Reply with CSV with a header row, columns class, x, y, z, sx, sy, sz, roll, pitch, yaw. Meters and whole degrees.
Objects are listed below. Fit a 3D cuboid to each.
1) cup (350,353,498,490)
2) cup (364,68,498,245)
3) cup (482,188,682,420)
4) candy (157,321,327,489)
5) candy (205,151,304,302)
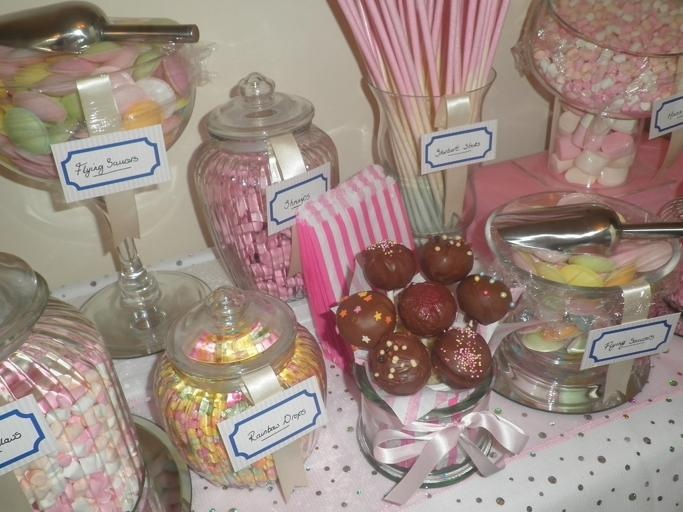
class,x,y,z,sx,sy,sz,roll,pitch,yaw
cup,0.110,0.253,0.766,0.179,0.132,0.180,-1,44,1
cup,0.124,-0.224,1.065,0.269,0.387,0.264,0,30,0
cup,0.357,0.088,0.924,0.304,0.253,0.335,-3,38,2
candy,-0.144,0.221,0.792,0.222,0.196,0.228,-6,33,-6
candy,-0.148,-0.060,0.904,0.172,0.254,0.156,-13,32,-18
